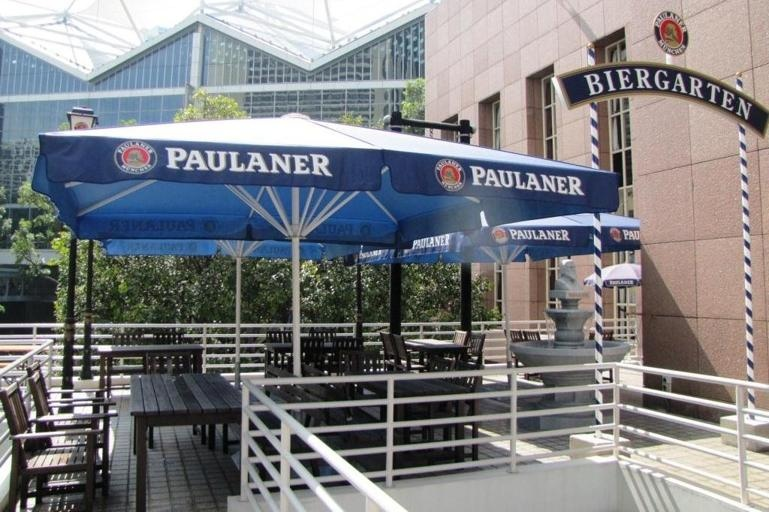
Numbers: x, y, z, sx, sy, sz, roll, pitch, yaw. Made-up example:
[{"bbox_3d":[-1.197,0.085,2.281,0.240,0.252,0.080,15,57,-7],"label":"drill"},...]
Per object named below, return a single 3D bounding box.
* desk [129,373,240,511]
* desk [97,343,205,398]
[{"bbox_3d":[-2.995,2.897,10.499,1.367,1.293,2.816,3,-4,-16],"label":"desk"},{"bbox_3d":[-4.575,2.574,14.105,2.070,1.025,1.070,1,-8,-20],"label":"desk"}]
